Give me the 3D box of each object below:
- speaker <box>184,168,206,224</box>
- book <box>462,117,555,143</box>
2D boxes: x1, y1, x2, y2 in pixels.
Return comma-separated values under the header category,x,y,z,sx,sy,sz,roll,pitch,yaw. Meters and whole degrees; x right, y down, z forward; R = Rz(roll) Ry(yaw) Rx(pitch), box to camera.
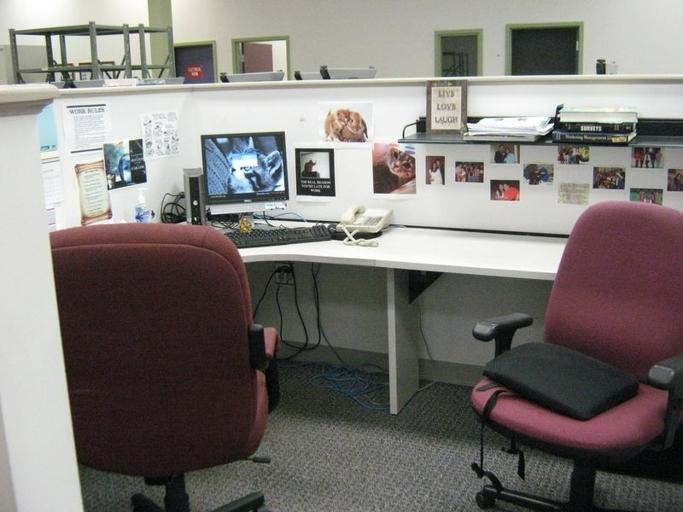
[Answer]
category,x,y,z,sx,sy,sz,roll,pitch,yaw
speaker,-0.750,-0.303,2.904,0.111,0.278,0.176,-8,16,-14
book,0.726,-0.557,2.475,0.371,0.093,0.220,2,17,20
